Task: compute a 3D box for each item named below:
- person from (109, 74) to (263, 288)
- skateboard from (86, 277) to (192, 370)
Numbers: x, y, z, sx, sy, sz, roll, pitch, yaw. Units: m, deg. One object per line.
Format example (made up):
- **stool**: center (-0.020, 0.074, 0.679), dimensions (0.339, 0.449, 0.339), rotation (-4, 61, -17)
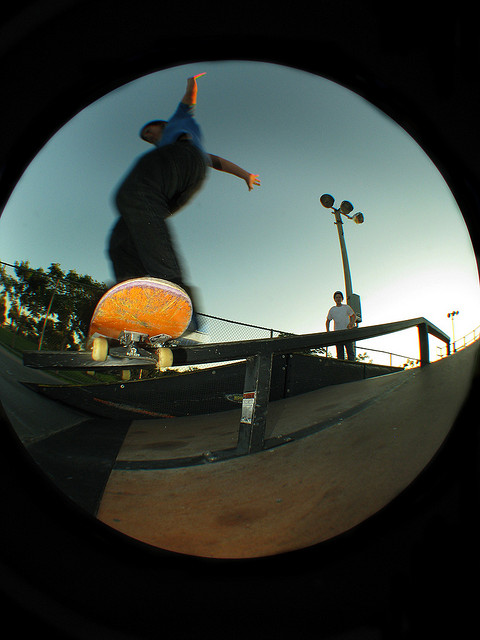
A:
- **person**: center (-0.232, -0.509, 1.821), dimensions (0.482, 1.124, 0.589), rotation (-21, -41, 31)
- **skateboard**: center (-0.399, -0.011, 1.631), dimensions (0.504, 0.294, 0.316), rotation (-1, 10, 38)
